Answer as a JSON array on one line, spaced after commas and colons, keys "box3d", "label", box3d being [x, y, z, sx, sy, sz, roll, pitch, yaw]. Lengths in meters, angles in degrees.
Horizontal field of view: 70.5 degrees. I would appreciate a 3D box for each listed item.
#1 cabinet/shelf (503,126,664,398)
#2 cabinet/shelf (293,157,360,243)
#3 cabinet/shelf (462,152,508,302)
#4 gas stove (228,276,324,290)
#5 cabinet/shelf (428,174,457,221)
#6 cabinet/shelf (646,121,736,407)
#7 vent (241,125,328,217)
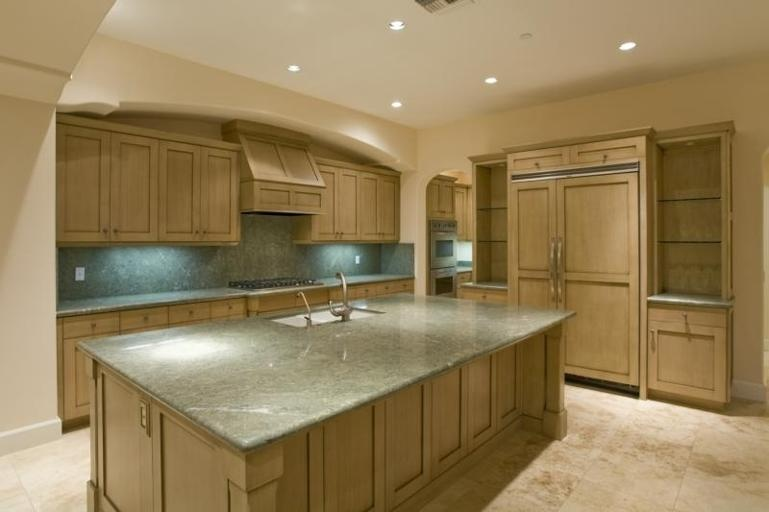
[{"box3d": [2.194, 0.079, 6.362, 1.641, 2.886, 0.798, 1, -6, 39], "label": "cabinet/shelf"}, {"box3d": [-0.805, -0.721, 7.127, 0.473, 1.215, 1.130, -4, -5, 35], "label": "cabinet/shelf"}, {"box3d": [1.403, -0.477, 7.202, 0.389, 1.654, 0.491, 0, 3, 41], "label": "cabinet/shelf"}, {"box3d": [-1.371, 0.330, 6.651, 1.025, 0.090, 0.694, -3, 3, -38], "label": "gas stove"}, {"box3d": [0.857, -0.891, 8.342, 0.316, 0.658, 0.782, -1, 0, 33], "label": "cabinet/shelf"}, {"box3d": [3.267, 0.099, 5.796, 0.782, 2.886, 0.671, 1, 4, 37], "label": "cabinet/shelf"}, {"box3d": [-1.286, -1.018, 6.694, 0.427, 0.992, 1.140, 2, 3, 38], "label": "vent"}]
